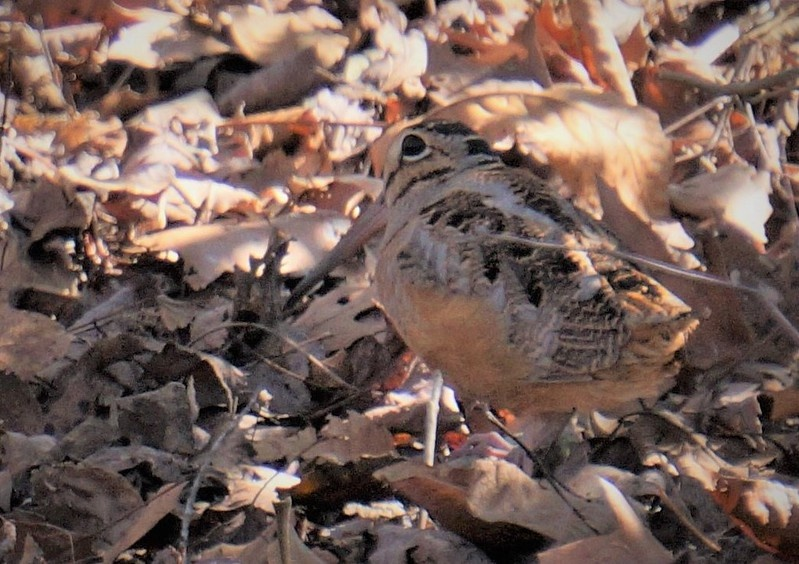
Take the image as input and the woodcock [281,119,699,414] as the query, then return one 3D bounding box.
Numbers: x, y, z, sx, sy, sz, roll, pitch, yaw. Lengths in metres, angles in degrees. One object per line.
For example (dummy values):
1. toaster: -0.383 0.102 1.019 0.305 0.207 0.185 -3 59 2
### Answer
1. woodcock: 0.143 -0.002 2.449 0.468 0.292 0.244 8 6 25
